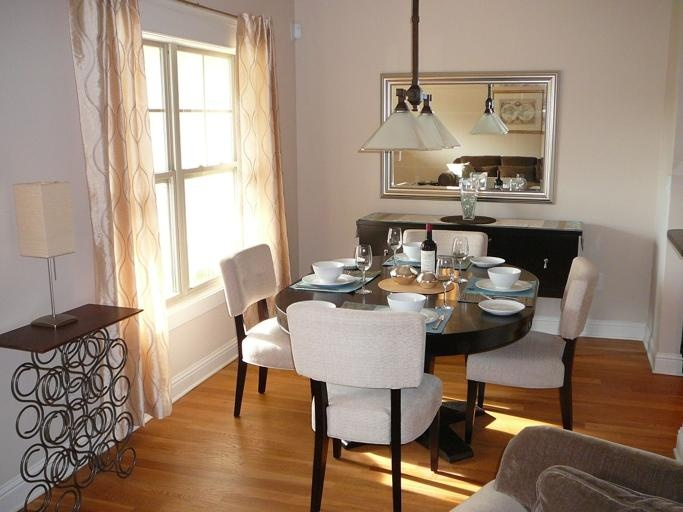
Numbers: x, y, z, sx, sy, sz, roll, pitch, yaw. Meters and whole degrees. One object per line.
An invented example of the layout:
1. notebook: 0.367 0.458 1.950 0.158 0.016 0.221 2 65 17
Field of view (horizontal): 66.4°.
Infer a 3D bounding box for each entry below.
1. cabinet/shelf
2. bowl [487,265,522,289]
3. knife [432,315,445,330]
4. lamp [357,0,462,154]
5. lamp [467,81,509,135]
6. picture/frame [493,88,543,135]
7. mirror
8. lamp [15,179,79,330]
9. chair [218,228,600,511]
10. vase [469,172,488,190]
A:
1. cabinet/shelf: 1.043 0.126 4.609 2.165 1.016 0.674 1 14 -20
2. bowl: 0.962 0.122 3.125 0.152 0.092 0.157 -1 1 0
3. knife: 0.482 0.328 2.597 0.030 0.016 0.129 12 16 17
4. lamp: 0.443 -1.124 3.279 0.546 0.942 1.719 1 13 9
5. lamp: 1.356 -1.387 4.817 0.312 0.441 0.319 4 26 16
6. picture/frame: 1.605 -1.327 4.711 0.395 0.354 0.032 4 15 18
7. mirror: 1.196 -1.053 4.492 1.245 0.925 0.055 1 13 12
8. lamp: -1.453 -0.013 2.572 0.264 0.699 0.220 4 15 21
9. chair: 0.131 0.579 2.810 1.360 0.738 1.368 -4 15 -16
10. vase: 1.313 -0.704 4.903 0.174 0.173 0.114 -18 22 -38
